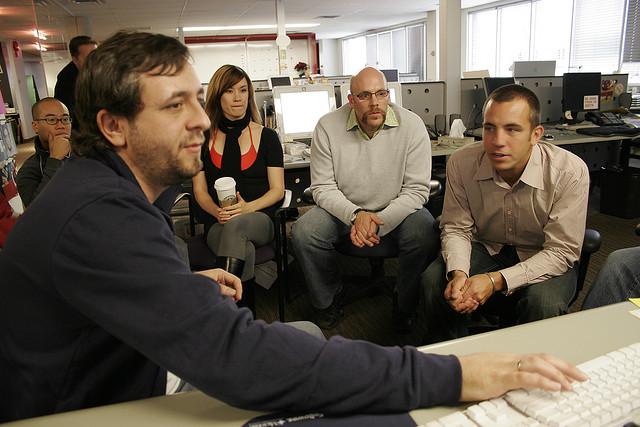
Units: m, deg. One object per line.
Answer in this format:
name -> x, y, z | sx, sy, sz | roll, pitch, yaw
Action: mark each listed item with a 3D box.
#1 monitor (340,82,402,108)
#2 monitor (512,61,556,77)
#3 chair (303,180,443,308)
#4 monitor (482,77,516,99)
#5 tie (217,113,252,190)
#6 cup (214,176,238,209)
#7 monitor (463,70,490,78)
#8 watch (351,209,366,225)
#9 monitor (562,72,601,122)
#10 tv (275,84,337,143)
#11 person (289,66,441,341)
monitor -> 0.497, -1.181, 4.051 | 0.659, 0.244, 0.778 | -1, 17, 10
monitor -> 2.931, -1.977, 5.513 | 0.500, 0.213, 1.233 | 5, 19, 28
chair -> 0.275, 0.278, 2.930 | 1.032, 1.152, 0.882 | 0, 5, 4
monitor -> 1.880, -1.350, 4.285 | 0.300, 0.188, 0.664 | 7, 19, 32
tie -> -0.577, -0.436, 2.829 | 0.210, 0.527, 0.201 | -13, -6, 27
cup -> -0.594, -0.109, 2.554 | 0.128, 0.191, 0.142 | 4, 25, 1
monitor -> 2.072, -1.836, 5.338 | 0.213, 0.082, 0.733 | 0, 17, 11
watch -> 0.239, 0.022, 2.552 | 0.089, 0.087, 0.057 | -46, 2, -4
monitor -> 2.939, -1.331, 4.609 | 0.491, 0.538, 0.177 | -7, 7, -12
tv -> -0.151, -0.923, 3.733 | 0.643, 0.615, 0.239 | -4, 9, -13
person -> 0.261, -0.097, 2.659 | 0.967, 1.630, 0.977 | -5, 13, -18
